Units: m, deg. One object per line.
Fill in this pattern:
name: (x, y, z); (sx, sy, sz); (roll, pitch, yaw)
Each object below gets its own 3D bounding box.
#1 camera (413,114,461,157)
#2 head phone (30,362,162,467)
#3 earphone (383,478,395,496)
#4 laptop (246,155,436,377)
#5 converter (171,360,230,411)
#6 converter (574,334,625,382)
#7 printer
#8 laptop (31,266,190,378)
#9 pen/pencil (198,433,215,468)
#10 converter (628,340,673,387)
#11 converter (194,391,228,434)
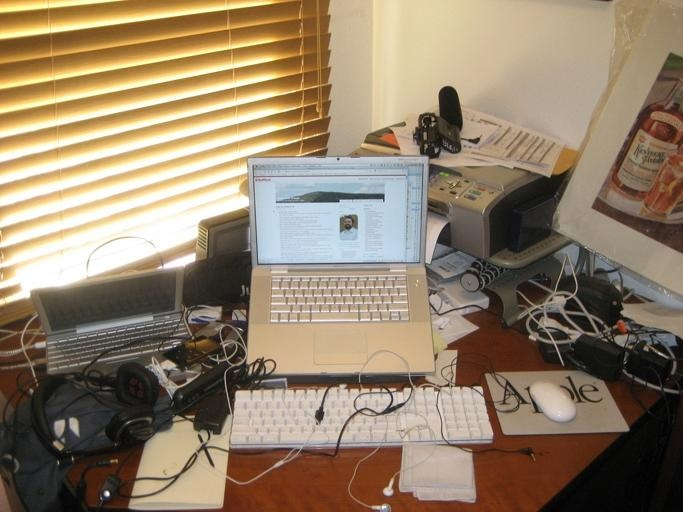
camera: (0.281, -0.351, 1.712); (0.133, 0.067, 0.184); (15, 27, -7)
head phone: (-0.528, 0.352, 1.256); (0.165, 0.097, 0.176); (26, 36, 23)
earphone: (0.097, 0.474, 1.190); (0.016, 0.013, 0.033); (8, 38, 17)
laptop: (-0.005, -0.008, 1.568); (0.636, 0.507, 0.507); (0, 34, -1)
converter: (-0.304, 0.307, 1.357); (0.037, 0.057, 0.180); (-9, 15, 48)
converter: (0.613, 0.248, 1.380); (0.047, 0.074, 0.086); (-12, 30, -44)
printer: (0.395, -0.195, 1.804); (0.594, 0.320, 0.509); (17, 37, 23)
laptop: (-0.567, 0.153, 1.420); (0.375, 0.161, 0.250); (-14, 50, -14)
pen/pencil: (-0.293, 0.418, 1.250); (0.025, 0.008, 0.074); (0, 39, -39)
converter: (0.729, 0.257, 1.416); (0.108, 0.104, 0.073); (21, 43, 33)
converter: (-0.295, 0.359, 1.314); (0.069, 0.028, 0.095); (3, 22, 2)
